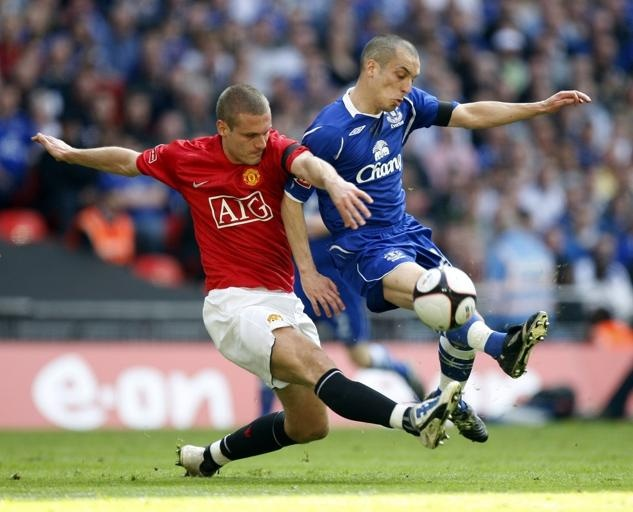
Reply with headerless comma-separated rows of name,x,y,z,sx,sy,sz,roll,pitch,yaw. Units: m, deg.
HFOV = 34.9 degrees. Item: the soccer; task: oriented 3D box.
soccer,0.957,0.313,7.822,0.441,0.511,0.455,-28,-5,1
